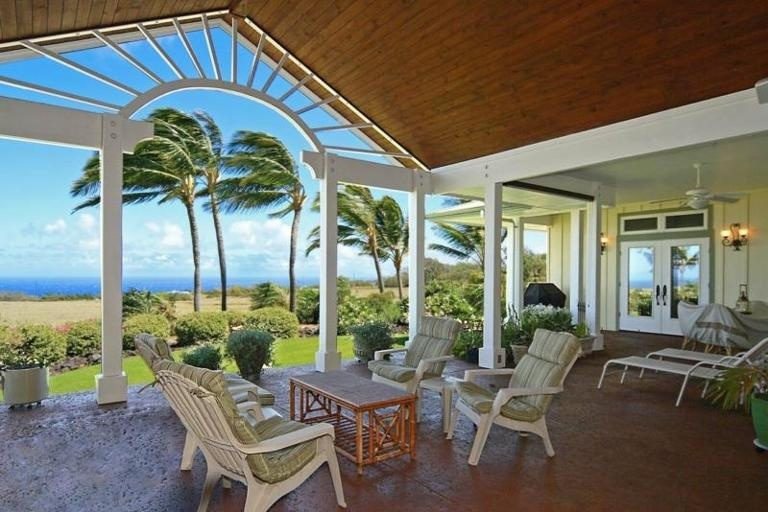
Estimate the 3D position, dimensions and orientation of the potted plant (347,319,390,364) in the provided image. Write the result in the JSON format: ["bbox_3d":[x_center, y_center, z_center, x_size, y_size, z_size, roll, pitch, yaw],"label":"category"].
[{"bbox_3d":[-0.247,1.821,10.346,0.863,0.896,0.960,-1,-3,23],"label":"potted plant"}]

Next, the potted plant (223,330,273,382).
[{"bbox_3d":[-2.507,1.835,8.835,0.949,0.988,0.931,-2,0,-7],"label":"potted plant"}]

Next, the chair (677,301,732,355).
[{"bbox_3d":[7.252,1.666,11.041,1.328,1.296,1.085,-6,4,-30],"label":"chair"}]

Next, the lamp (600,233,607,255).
[{"bbox_3d":[6.900,-0.397,14.959,0.113,0.665,0.186,-1,-3,-37],"label":"lamp"}]

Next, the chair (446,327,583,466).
[{"bbox_3d":[1.730,1.801,6.479,1.771,1.461,1.289,-2,1,-20],"label":"chair"}]

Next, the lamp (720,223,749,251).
[{"bbox_3d":[9.400,-0.517,12.736,0.312,0.871,0.727,9,-10,-34],"label":"lamp"}]

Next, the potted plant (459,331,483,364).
[{"bbox_3d":[1.874,1.994,10.595,0.603,0.594,0.590,0,-1,-2],"label":"potted plant"}]

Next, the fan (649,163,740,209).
[{"bbox_3d":[6.743,-1.513,10.018,1.283,0.889,1.434,-16,12,-33],"label":"fan"}]

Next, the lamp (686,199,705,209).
[{"bbox_3d":[6.379,-1.078,9.734,0.225,0.129,0.291,0,-4,-29],"label":"lamp"}]
